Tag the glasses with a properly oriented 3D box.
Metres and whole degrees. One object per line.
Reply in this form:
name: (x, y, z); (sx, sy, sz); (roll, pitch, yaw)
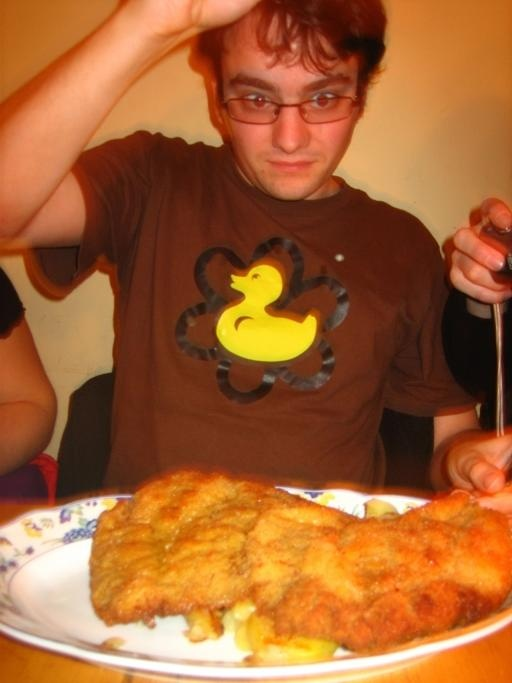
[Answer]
glasses: (0.106, -0.655, 1.733); (0.379, 0.081, 0.160); (-2, 33, -4)
